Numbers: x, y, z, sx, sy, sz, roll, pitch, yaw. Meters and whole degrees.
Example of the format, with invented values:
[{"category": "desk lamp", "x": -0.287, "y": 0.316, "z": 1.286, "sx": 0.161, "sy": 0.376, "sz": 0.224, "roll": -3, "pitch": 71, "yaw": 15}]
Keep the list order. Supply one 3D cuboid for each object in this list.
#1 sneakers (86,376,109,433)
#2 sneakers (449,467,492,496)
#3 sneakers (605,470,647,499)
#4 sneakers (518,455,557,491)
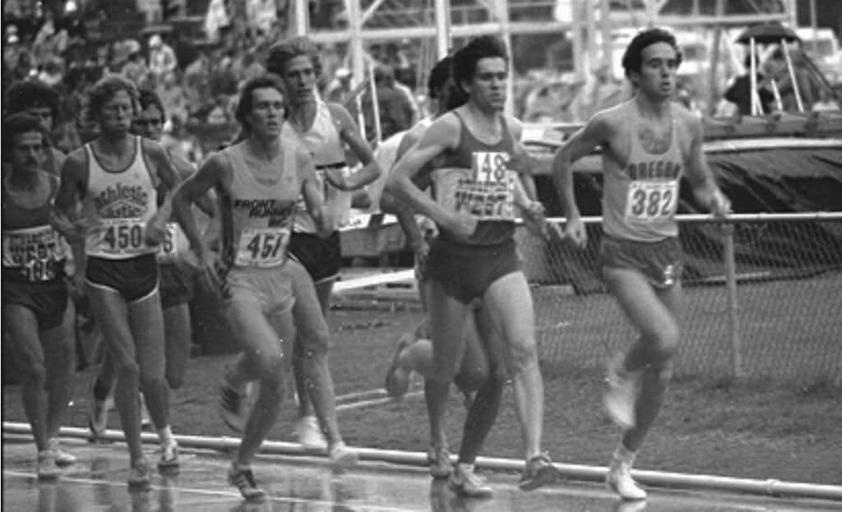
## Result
[{"category": "sneakers", "x": -1.806, "y": 0.854, "z": 7.075, "sx": 0.107, "sy": 0.335, "sz": 0.134, "roll": -5, "pitch": 16, "yaw": -28}, {"category": "sneakers", "x": 0.253, "y": 1.313, "z": 7.249, "sx": 0.108, "sy": 0.146, "sz": 0.311, "roll": 2, "pitch": -4, "yaw": -39}, {"category": "sneakers", "x": 1.160, "y": 1.307, "z": 7.087, "sx": 0.239, "sy": 0.219, "sz": 0.117, "roll": 3, "pitch": 8, "yaw": 39}, {"category": "sneakers", "x": 0.655, "y": 1.210, "z": 6.961, "sx": 0.216, "sy": 0.253, "sz": 0.228, "roll": -3, "pitch": 6, "yaw": 4}]
